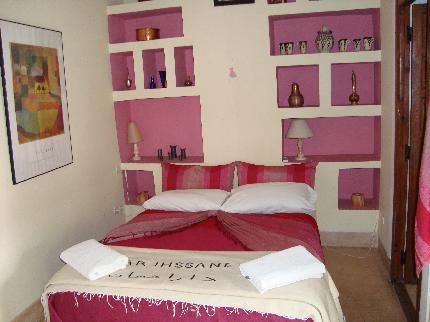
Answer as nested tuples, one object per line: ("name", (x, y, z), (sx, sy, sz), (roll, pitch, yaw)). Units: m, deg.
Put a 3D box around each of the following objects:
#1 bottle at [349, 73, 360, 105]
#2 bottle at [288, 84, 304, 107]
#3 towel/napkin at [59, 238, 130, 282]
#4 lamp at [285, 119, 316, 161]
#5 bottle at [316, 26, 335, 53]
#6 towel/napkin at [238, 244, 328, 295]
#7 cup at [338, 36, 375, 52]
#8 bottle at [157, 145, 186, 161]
("bottle", (1.721, -0.894, 4.557), (0.118, 0.403, 0.383), (1, 11, 21))
("bottle", (1.004, -0.794, 4.595), (0.189, 0.326, 0.201), (-5, 16, 2))
("towel/napkin", (-0.996, 0.761, 3.147), (0.331, 0.115, 0.336), (16, 13, 36))
("lamp", (1.092, -0.269, 4.656), (0.328, 0.519, 0.451), (2, 12, 26))
("bottle", (1.295, -1.430, 4.404), (0.195, 0.317, 0.173), (-6, 11, -12))
("towel/napkin", (0.533, 0.827, 2.911), (0.412, 0.119, 0.337), (-13, 26, -16))
("cup", (1.710, -1.401, 4.448), (0.255, 0.119, 0.073), (1, 1, 17))
("bottle", (-0.562, -0.092, 5.033), (0.249, 0.143, 0.254), (1, 5, 0))
